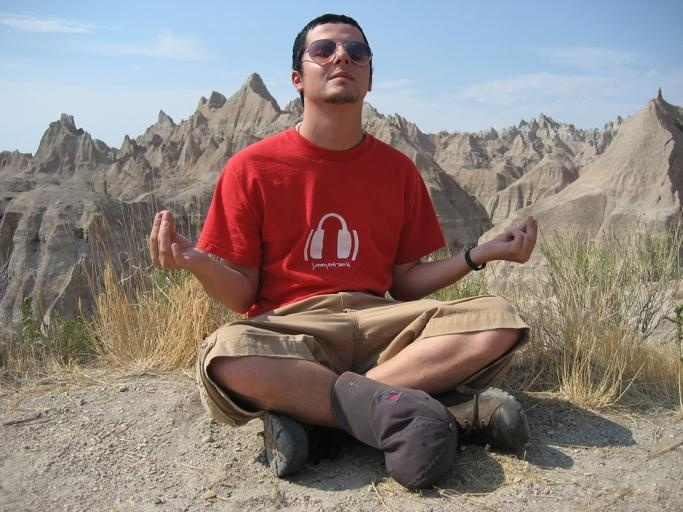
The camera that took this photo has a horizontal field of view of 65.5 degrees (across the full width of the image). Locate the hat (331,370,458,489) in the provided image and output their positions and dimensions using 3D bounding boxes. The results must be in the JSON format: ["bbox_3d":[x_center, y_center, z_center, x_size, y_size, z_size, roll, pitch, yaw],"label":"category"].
[{"bbox_3d":[0.191,0.675,2.204,0.508,0.266,0.331,33,45,19],"label":"hat"}]

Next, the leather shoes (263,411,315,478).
[{"bbox_3d":[-0.255,0.849,2.396,0.137,0.278,0.272,1,-14,-28],"label":"leather shoes"}]
